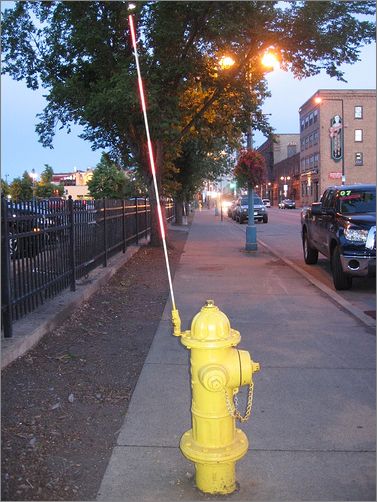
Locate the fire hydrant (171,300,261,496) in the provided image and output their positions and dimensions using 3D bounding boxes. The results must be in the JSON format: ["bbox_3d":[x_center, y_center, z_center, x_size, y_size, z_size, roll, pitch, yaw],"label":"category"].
[{"bbox_3d":[0.164,0.783,2.644,0.437,1.058,0.347,-4,8,-10],"label":"fire hydrant"}]

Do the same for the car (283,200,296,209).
[{"bbox_3d":[15.772,-7.257,76.555,1.212,1.243,2.221,-4,9,-13],"label":"car"}]
